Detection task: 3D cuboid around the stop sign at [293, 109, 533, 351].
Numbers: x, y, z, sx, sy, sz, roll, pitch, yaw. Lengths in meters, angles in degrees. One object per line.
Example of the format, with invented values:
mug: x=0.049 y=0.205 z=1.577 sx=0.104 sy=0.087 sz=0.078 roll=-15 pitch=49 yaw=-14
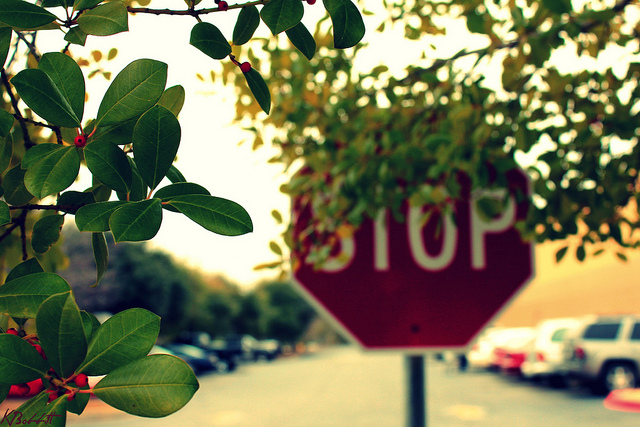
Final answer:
stop sign: x=0.403 y=0.061 z=3.827 sx=1.083 sy=1.301 sz=0.054 roll=-8 pitch=-37 yaw=13
